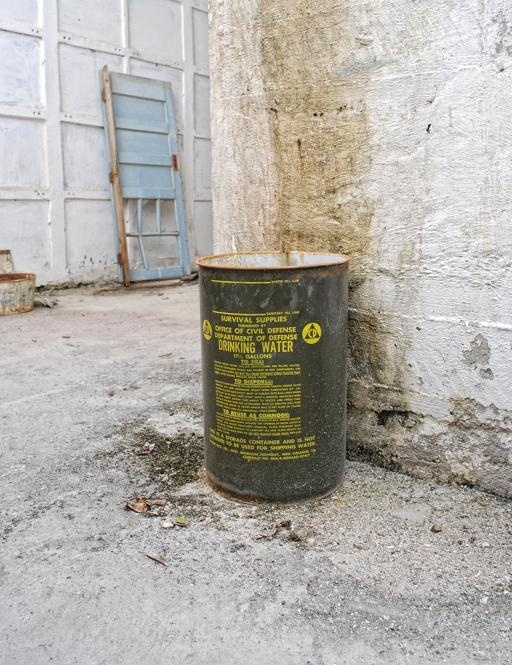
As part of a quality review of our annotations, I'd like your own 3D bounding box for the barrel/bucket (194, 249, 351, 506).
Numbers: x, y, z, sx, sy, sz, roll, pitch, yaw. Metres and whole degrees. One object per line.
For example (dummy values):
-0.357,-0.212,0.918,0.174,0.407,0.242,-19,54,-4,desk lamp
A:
0.055,0.129,1.820,0.473,0.636,0.441,0,5,0,barrel/bucket
